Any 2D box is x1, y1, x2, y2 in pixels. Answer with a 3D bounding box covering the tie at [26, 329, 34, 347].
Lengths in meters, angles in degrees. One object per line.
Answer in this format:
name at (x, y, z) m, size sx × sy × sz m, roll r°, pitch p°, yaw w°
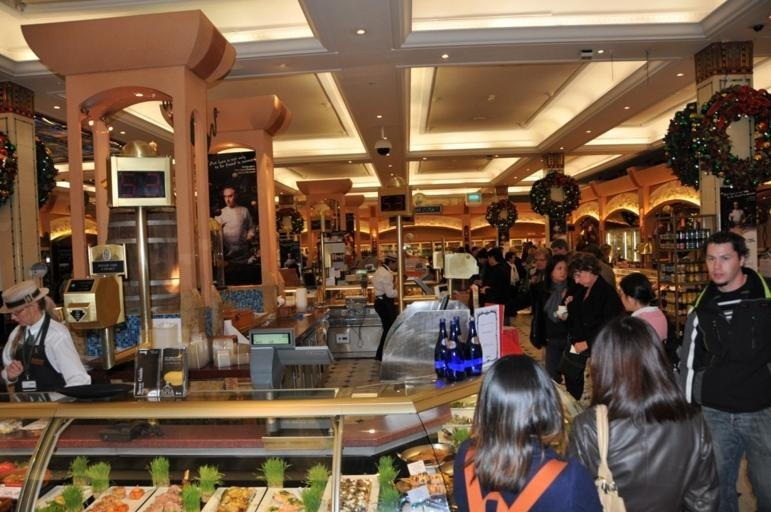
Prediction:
tie at (-2.925, 0.677, 4.600) m, size 0.087 × 0.112 × 0.028 m, roll 0°, pitch -6°, yaw 4°
